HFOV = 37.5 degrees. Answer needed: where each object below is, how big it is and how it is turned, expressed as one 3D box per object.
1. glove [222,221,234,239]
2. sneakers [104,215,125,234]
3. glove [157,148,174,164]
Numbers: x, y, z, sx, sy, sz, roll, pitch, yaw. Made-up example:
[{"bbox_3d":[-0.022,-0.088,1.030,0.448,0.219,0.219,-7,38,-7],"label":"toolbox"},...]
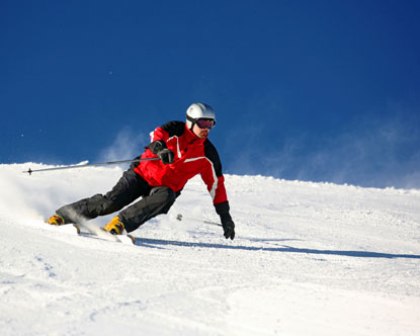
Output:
[{"bbox_3d":[0.289,0.937,9.498,0.163,0.286,0.103,0,-1,0],"label":"glove"},{"bbox_3d":[-1.293,0.793,8.391,0.283,0.166,0.112,-8,4,-43],"label":"sneakers"},{"bbox_3d":[-0.612,-0.166,8.449,0.171,0.212,0.256,5,0,-32],"label":"glove"}]
